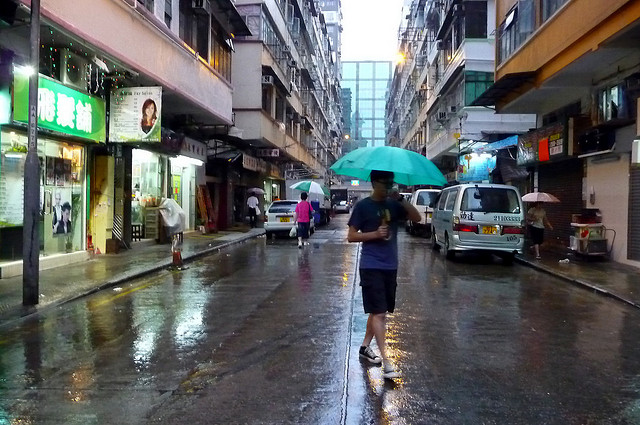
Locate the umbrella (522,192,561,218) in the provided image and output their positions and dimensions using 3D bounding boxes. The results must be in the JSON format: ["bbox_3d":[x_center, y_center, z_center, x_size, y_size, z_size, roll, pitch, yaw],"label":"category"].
[{"bbox_3d":[7.708,-0.299,16.960,0.947,0.940,1.405,-1,-3,31],"label":"umbrella"}]

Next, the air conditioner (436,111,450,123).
[{"bbox_3d":[7.818,-6.149,31.048,0.682,0.504,0.739,2,4,16],"label":"air conditioner"}]

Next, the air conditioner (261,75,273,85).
[{"bbox_3d":[-3.000,-7.574,27.597,0.533,0.640,0.541,0,-2,2],"label":"air conditioner"}]

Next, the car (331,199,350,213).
[{"bbox_3d":[2.364,-0.787,56.552,1.350,1.054,2.154,-1,-2,6],"label":"car"}]

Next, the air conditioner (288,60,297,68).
[{"bbox_3d":[-1.887,-10.600,34.720,0.633,0.525,0.655,5,-10,0],"label":"air conditioner"}]

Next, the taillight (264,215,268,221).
[{"bbox_3d":[-2.546,0.248,23.396,0.048,0.275,0.191,2,-3,-44],"label":"taillight"}]

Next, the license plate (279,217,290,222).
[{"bbox_3d":[-1.656,0.335,23.171,0.447,0.210,0.086,0,-2,-5],"label":"license plate"}]

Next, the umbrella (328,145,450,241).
[{"bbox_3d":[1.020,-0.424,7.614,1.418,1.254,1.522,4,-5,-3],"label":"umbrella"}]

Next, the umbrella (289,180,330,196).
[{"bbox_3d":[-0.465,-1.277,23.501,1.310,0.666,1.508,-1,-3,30],"label":"umbrella"}]

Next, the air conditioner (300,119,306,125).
[{"bbox_3d":[-1.476,-7.782,42.417,0.398,0.581,0.808,1,4,5],"label":"air conditioner"}]

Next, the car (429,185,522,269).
[{"bbox_3d":[5.241,0.413,16.390,2.120,2.700,2.840,0,-2,1],"label":"car"}]
